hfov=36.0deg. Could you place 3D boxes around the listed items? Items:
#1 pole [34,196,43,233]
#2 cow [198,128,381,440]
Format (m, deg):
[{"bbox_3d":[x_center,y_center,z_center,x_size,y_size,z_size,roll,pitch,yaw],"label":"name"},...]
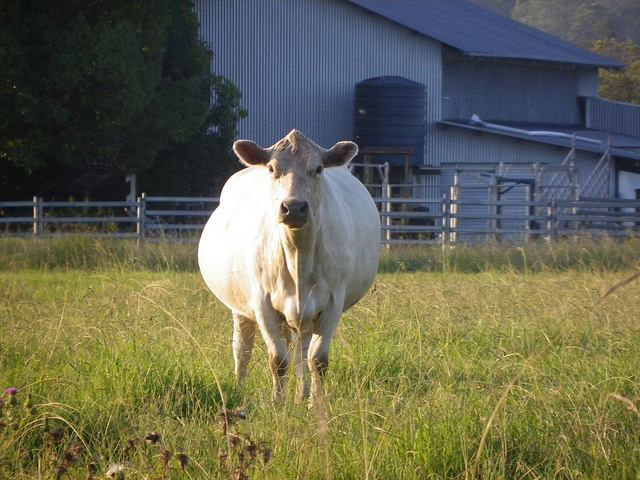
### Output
[{"bbox_3d":[-8.544,-0.761,29.475,0.268,1.059,0.557,3,6,3],"label":"pole"},{"bbox_3d":[-0.576,0.397,18.262,3.098,4.856,2.080,4,6,3],"label":"cow"}]
